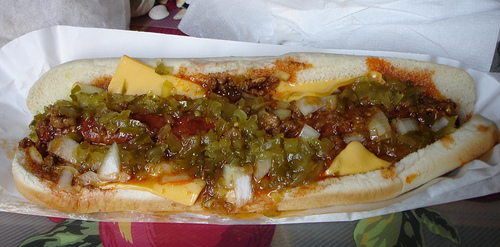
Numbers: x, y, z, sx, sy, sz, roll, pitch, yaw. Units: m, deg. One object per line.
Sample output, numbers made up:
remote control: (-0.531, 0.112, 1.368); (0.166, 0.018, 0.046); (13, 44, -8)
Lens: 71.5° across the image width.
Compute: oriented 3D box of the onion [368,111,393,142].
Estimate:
onion: (1.420, 0.032, 3.809); (0.235, 0.168, 0.283); (-11, 57, -12)

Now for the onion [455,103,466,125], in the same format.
onion: (2.424, -0.113, 3.980); (0.129, 0.044, 0.186); (-1, 81, -4)

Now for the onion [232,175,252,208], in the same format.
onion: (-0.070, 0.696, 3.629); (0.212, 0.079, 0.306); (-6, 101, -14)

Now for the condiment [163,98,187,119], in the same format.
condiment: (-0.793, -0.171, 3.710); (0.242, 0.103, 0.215); (-13, 71, -29)

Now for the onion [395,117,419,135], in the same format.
onion: (1.749, 0.018, 3.828); (0.263, 0.085, 0.155); (-13, 57, -13)

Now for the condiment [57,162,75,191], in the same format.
condiment: (-1.917, 0.568, 3.637); (0.176, 0.107, 0.297); (12, 94, -20)

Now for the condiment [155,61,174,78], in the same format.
condiment: (-0.933, -0.590, 3.815); (0.164, 0.075, 0.157); (17, 56, 7)

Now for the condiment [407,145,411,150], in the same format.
condiment: (1.748, 0.263, 3.815); (0.029, 0.029, 0.037); (-5, 56, -8)

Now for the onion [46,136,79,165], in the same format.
onion: (-1.900, 0.264, 3.484); (0.287, 0.084, 0.268); (30, 88, -1)

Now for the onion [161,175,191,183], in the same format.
onion: (-0.774, 0.563, 3.619); (0.310, 0.083, 0.072); (-3, 39, -8)
